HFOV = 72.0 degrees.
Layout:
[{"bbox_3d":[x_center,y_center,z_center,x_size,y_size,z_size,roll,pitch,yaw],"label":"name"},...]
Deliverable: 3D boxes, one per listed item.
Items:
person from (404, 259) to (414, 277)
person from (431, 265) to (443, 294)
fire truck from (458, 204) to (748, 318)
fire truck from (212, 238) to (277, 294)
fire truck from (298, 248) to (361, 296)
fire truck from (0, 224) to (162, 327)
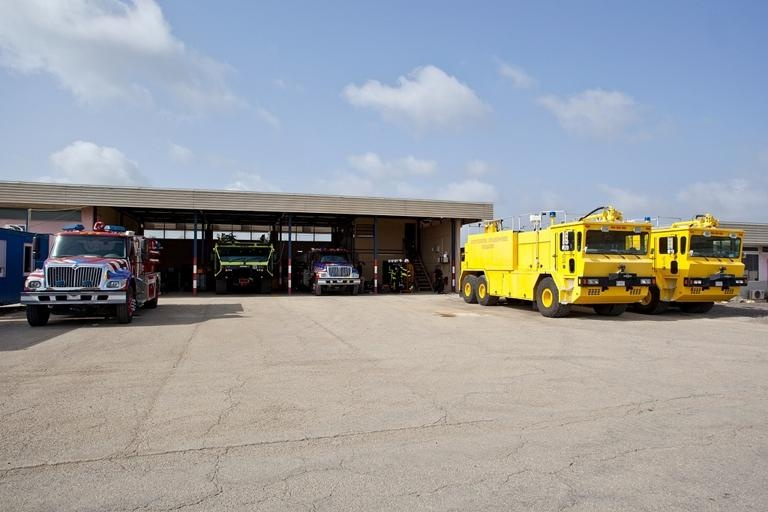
[{"bbox_3d":[1.596,0.808,35.010,0.562,0.982,1.288,1,6,5],"label":"person"},{"bbox_3d":[3.523,1.501,34.307,0.607,1.591,2.010,1,6,5],"label":"person"},{"bbox_3d":[7.860,0.176,19.730,6.890,3.991,6.488,-2,7,-24],"label":"fire truck"},{"bbox_3d":[-8.048,0.237,29.883,3.197,2.971,5.011,1,10,-16],"label":"fire truck"},{"bbox_3d":[-3.156,0.936,30.364,1.825,1.709,3.929,1,-8,-13],"label":"fire truck"},{"bbox_3d":[-8.548,0.551,15.735,2.537,3.087,3.767,-1,6,-10],"label":"fire truck"}]
